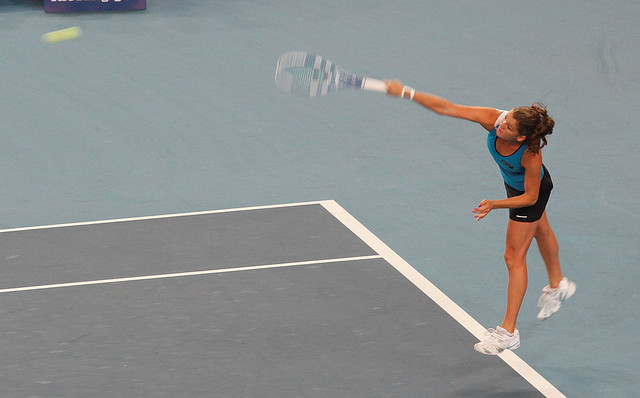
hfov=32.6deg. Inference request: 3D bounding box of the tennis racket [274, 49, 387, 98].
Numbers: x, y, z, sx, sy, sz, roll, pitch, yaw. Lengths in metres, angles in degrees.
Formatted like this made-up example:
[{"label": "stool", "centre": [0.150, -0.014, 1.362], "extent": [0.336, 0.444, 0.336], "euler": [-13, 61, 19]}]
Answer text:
[{"label": "tennis racket", "centre": [0.057, -1.206, 10.280], "extent": [0.853, 0.446, 0.682], "euler": [0, -3, -29]}]
